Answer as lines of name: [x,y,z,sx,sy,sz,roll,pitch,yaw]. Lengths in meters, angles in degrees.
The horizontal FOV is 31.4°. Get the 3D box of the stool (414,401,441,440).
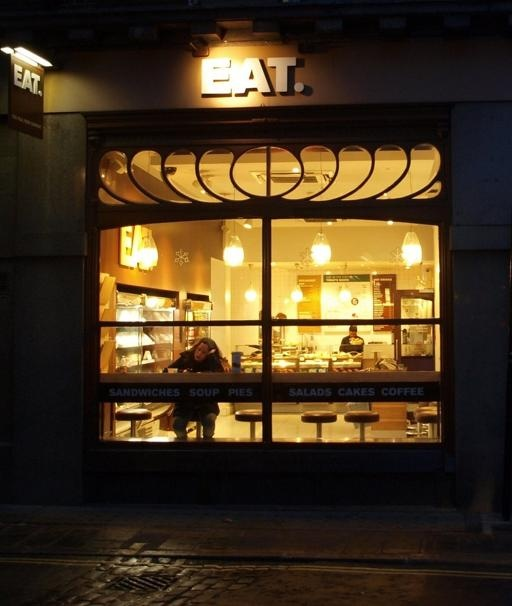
stool: [1.608,1.078,8.433,0.306,0.250,0.281,0,-4,7]

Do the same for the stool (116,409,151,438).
stool: [-1.148,1.131,8.694,0.282,0.404,0.258,5,-7,-36]

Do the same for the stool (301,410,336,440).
stool: [0.599,1.113,8.540,0.272,0.239,0.285,-1,-2,3]

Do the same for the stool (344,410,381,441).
stool: [0.998,1.117,8.529,0.275,0.420,0.280,-4,-3,34]

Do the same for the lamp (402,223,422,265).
lamp: [1.555,-0.552,9.059,0.201,0.380,0.603,0,-2,8]

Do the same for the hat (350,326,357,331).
hat: [0.970,0.246,8.978,0.051,0.063,0.064,-6,-22,7]

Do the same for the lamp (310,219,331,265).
lamp: [0.762,-0.706,10.529,0.263,0.519,0.235,0,13,2]

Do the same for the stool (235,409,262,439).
stool: [-0.051,1.109,8.518,0.267,0.268,0.257,1,-2,-42]

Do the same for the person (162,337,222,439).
person: [-0.523,0.860,8.722,0.551,1.089,0.538,3,-8,23]
